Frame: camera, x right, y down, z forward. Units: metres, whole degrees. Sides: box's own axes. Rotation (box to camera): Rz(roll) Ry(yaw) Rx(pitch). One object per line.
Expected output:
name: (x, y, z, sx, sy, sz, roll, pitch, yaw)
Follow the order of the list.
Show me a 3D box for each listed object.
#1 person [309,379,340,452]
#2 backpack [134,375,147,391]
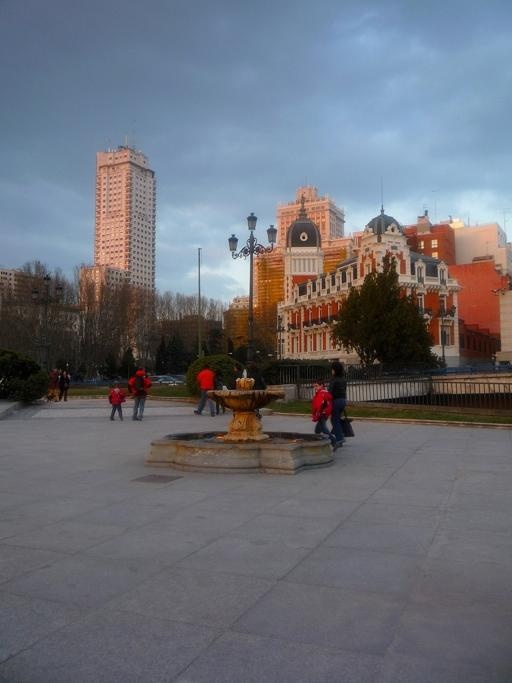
person: (1.316, 1.434, 10.896, 0.472, 1.261, 1.462, -1, -1, 7)
backpack: (-3.477, 1.280, 17.086, 0.328, 0.558, 0.478, 0, -8, -2)
